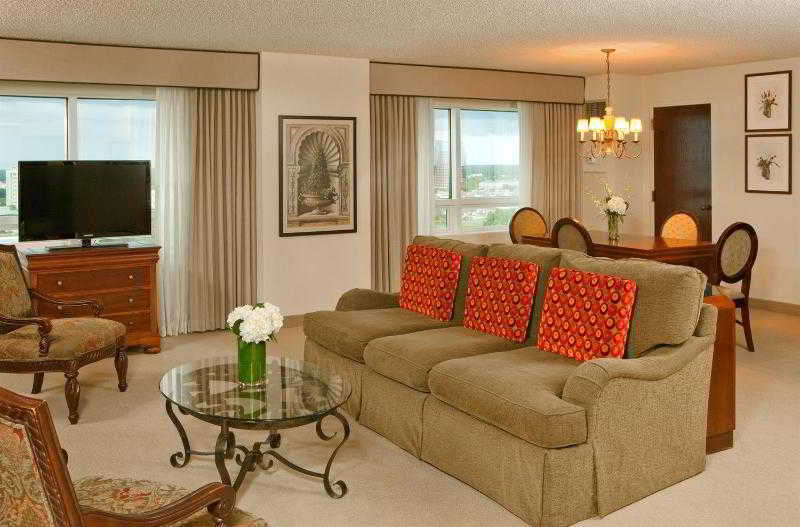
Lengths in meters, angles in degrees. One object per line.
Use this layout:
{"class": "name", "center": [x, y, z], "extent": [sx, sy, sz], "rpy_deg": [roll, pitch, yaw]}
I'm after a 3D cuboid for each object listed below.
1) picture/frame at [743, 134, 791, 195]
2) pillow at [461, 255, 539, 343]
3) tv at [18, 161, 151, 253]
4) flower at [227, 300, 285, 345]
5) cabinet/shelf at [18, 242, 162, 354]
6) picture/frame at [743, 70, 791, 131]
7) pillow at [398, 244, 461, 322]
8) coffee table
{"class": "picture/frame", "center": [4.718, -1.279, 7.316], "extent": [0.141, 0.733, 0.603], "rpy_deg": [-8, 14, -29]}
{"class": "pillow", "center": [0.776, 0.266, 4.370], "extent": [0.162, 0.569, 0.658], "rpy_deg": [6, 6, -32]}
{"class": "tv", "center": [-3.298, -0.618, 5.894], "extent": [1.043, 0.693, 0.100], "rpy_deg": [-2, 5, -24]}
{"class": "flower", "center": [-0.929, 0.413, 3.673], "extent": [0.298, 0.264, 0.143], "rpy_deg": [-19, -26, 7]}
{"class": "cabinet/shelf", "center": [-3.321, 0.414, 5.966], "extent": [0.756, 1.146, 1.279], "rpy_deg": [5, 7, 42]}
{"class": "picture/frame", "center": [4.678, -2.045, 7.253], "extent": [0.123, 0.737, 0.589], "rpy_deg": [-8, 14, -28]}
{"class": "pillow", "center": [0.271, 0.173, 4.972], "extent": [0.169, 0.587, 0.673], "rpy_deg": [11, 0, -33]}
{"class": "coffee table", "center": [-0.864, 0.870, 3.534], "extent": [0.980, 0.502, 1.064], "rpy_deg": [-2, 6, -34]}
